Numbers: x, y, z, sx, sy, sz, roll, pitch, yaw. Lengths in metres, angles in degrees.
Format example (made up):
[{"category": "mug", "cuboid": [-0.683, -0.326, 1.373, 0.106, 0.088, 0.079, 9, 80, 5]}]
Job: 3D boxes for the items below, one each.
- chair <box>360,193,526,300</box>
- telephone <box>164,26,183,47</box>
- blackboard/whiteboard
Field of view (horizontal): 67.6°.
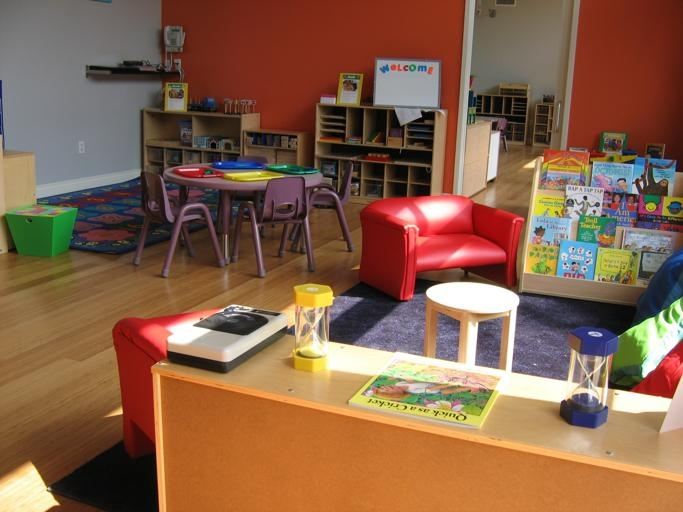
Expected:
[{"category": "chair", "cuboid": [0.802, -0.140, 4.667, 1.647, 0.857, 1.025, -5, 16, -20]}, {"category": "telephone", "cuboid": [-2.887, -3.773, 8.718, 0.364, 0.358, 0.175, 1, 12, -6]}, {"category": "blackboard/whiteboard", "cuboid": [0.979, -2.490, 7.329, 0.984, 0.528, 0.117, 3, 9, 9]}]
